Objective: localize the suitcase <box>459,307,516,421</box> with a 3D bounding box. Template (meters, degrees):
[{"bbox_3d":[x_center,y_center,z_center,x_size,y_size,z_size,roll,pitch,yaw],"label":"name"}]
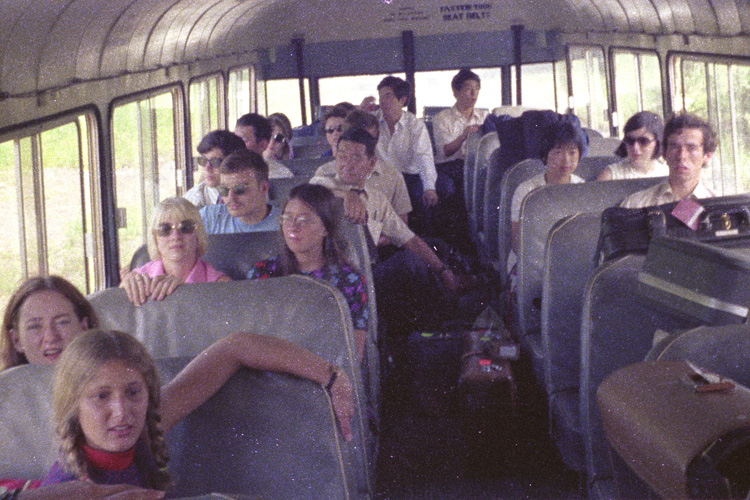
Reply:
[{"bbox_3d":[0.358,0.321,2.403,0.177,0.080,0.326,-4,32,8],"label":"suitcase"}]

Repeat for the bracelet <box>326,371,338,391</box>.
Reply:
[{"bbox_3d":[-0.117,0.360,2.107,0.013,0.045,0.035,18,-18,-15],"label":"bracelet"}]

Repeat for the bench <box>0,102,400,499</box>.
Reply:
[{"bbox_3d":[-0.474,0.290,2.296,0.661,1.027,0.764,-2,-7,5],"label":"bench"}]
